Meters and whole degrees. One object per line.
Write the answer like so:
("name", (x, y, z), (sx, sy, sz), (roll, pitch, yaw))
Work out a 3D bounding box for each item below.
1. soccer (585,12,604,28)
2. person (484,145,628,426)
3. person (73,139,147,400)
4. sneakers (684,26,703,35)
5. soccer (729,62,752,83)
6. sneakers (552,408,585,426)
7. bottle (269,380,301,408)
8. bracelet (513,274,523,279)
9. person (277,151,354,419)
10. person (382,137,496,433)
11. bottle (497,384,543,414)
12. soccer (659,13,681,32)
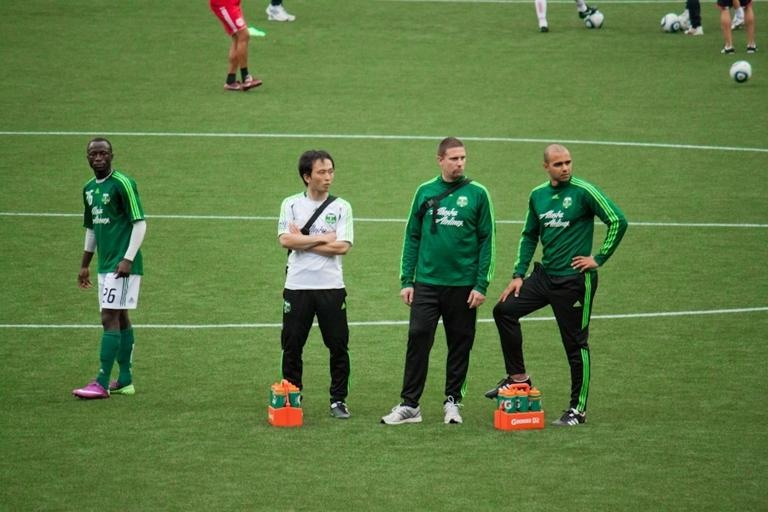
("soccer", (5.019, -5.631, 36.227), (0.364, 0.364, 0.443), (-18, 27, -34))
("person", (2.315, 0.297, 20.275), (1.361, 3.603, 0.760), (10, 12, 32))
("person", (-3.676, 0.104, 20.761), (0.815, 3.424, 1.019), (2, 10, -10))
("sneakers", (7.255, -5.327, 35.873), (0.395, 0.144, 0.164), (5, 8, 33))
("soccer", (7.382, -3.875, 31.828), (0.490, 0.447, 0.435), (12, 18, -5))
("sneakers", (2.379, 2.060, 20.119), (0.536, 0.176, 0.173), (0, -2, -6))
("bottle", (-1.295, 1.759, 20.204), (0.424, 0.329, 0.382), (0, 5, -25))
("bracelet", (1.803, 0.215, 20.507), (0.099, 0.046, 0.076), (-3, 4, -18))
("person", (-0.891, 0.317, 20.243), (1.047, 3.463, 0.768), (3, 10, -4))
("person", (0.797, 0.269, 20.201), (1.249, 3.706, 0.893), (4, 10, 2))
("bottle", (1.735, 1.759, 20.119), (0.600, 0.288, 0.395), (0, 2, -5))
("soccer", (6.737, -5.520, 36.002), (0.554, 0.419, 0.405), (5, -18, 10))
